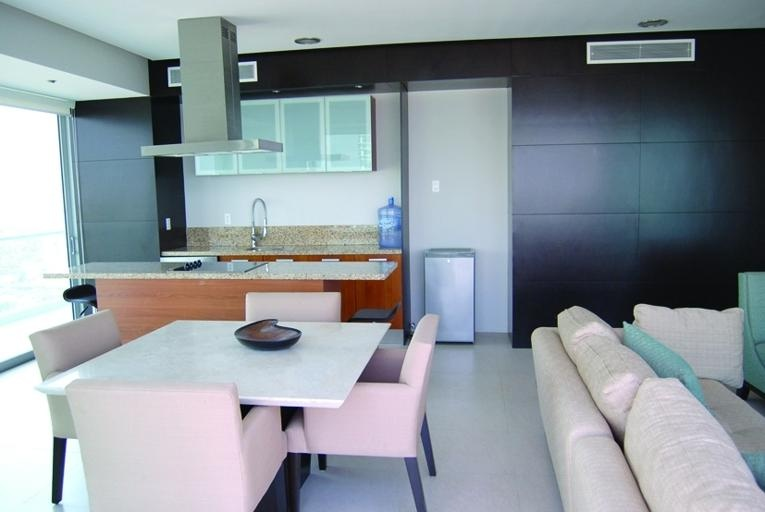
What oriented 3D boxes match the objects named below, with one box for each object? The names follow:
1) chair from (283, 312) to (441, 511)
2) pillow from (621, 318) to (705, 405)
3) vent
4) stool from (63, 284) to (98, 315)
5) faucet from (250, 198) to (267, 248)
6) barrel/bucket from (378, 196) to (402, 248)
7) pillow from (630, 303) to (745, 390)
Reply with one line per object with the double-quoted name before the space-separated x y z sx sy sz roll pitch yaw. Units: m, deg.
"chair" -0.112 0.978 3.954 1.240 1.345 1.025 1 3 5
"pillow" 1.681 0.639 3.419 0.212 0.196 0.585 -9 29 -7
"vent" -1.588 -1.562 5.123 1.205 1.145 1.058 4 15 15
"stool" -3.026 0.458 5.481 0.267 0.269 0.238 -17 -8 -11
"faucet" -1.516 -0.411 6.670 0.216 0.595 0.178 -6 9 -33
"barrel/bucket" 0.081 -0.383 6.303 0.243 0.569 0.337 -2 8 -4
"pillow" 2.345 0.669 4.045 0.261 0.546 0.665 3 -4 -30
